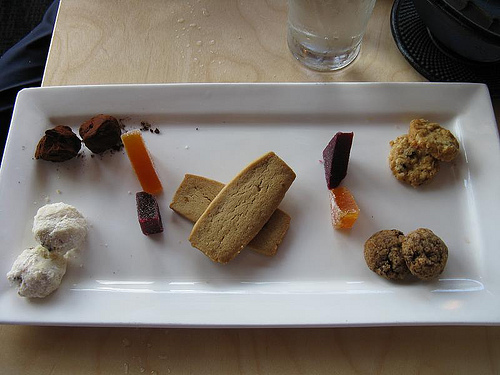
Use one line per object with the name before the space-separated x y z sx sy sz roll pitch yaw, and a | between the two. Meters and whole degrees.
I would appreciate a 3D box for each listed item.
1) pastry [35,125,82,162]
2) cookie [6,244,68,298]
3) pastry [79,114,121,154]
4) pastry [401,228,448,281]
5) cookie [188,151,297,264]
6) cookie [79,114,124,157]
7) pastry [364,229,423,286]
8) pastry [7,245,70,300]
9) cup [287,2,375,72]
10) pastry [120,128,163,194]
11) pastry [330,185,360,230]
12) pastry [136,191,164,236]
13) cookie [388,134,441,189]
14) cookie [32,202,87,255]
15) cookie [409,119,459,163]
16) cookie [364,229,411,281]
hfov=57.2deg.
pastry | -0.672 -0.153 1.666 0.149 0.123 0.113 18 45 21
cookie | -0.687 0.269 1.528 0.180 0.168 0.176 -11 48 -13
pastry | -0.527 -0.179 1.676 0.132 0.098 0.136 39 81 5
pastry | 0.552 0.211 1.547 0.154 0.148 0.168 14 28 11
cookie | -0.022 0.060 1.533 0.203 0.064 0.452 40 85 8
cookie | -0.494 -0.192 1.704 0.169 0.200 0.184 -12 106 -13
pastry | 0.447 0.216 1.601 0.212 0.160 0.208 7 27 -3
pastry | -0.697 0.276 1.500 0.155 0.079 0.164 17 73 9
cup | 0.285 -0.560 1.664 0.256 0.393 0.270 0 90 4
pastry | -0.375 -0.094 1.591 0.139 0.197 0.182 -18 43 -23
pastry | 0.324 0.063 1.557 0.101 0.076 0.146 -2 70 3
pastry | -0.347 0.085 1.567 0.077 0.056 0.146 -13 71 -1
cookie | 0.560 -0.088 1.594 0.156 0.051 0.187 -22 87 13
cookie | -0.626 0.131 1.513 0.144 0.067 0.177 4 61 -13
cookie | 0.640 -0.184 1.633 0.203 0.062 0.155 31 39 5
cookie | 0.440 0.220 1.496 0.151 0.047 0.145 17 90 22
